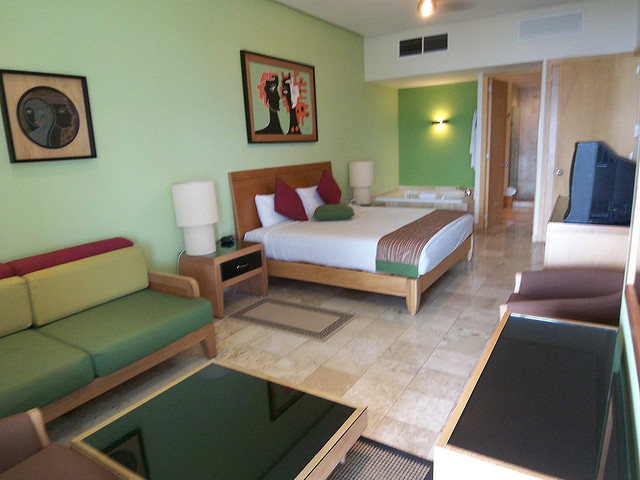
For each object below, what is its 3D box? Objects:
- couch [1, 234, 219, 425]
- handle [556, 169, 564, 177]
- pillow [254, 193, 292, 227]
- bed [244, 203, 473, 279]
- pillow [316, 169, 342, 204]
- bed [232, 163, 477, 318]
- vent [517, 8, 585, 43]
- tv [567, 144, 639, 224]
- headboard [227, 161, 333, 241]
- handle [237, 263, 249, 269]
[{"bbox_3d":[-1.648,0.592,3.377,0.952,0.978,1.483,9,20,41],"label":"couch"},{"bbox_3d":[3.223,-0.883,6.166,0.069,0.044,0.130,22,57,41],"label":"handle"},{"bbox_3d":[-0.572,-0.343,5.269,0.103,0.338,0.352,-4,1,32],"label":"pillow"},{"bbox_3d":[0.402,-0.015,4.534,1.208,0.262,1.262,5,12,26],"label":"bed"},{"bbox_3d":[0.115,-0.670,6.008,0.094,0.377,0.417,-18,-33,24],"label":"pillow"},{"bbox_3d":[0.284,-0.106,5.068,1.996,1.231,1.988,6,15,29],"label":"bed"},{"bbox_3d":[2.950,-2.748,5.883,0.748,0.303,0.055,2,16,25],"label":"vent"},{"bbox_3d":[1.953,-0.366,3.105,0.407,0.573,0.265,-2,15,11],"label":"tv"},{"bbox_3d":[-0.480,-0.506,5.493,1.414,0.643,0.085,-13,6,-32],"label":"headboard"},{"bbox_3d":[-0.768,0.252,4.521,0.017,0.020,0.131,-4,10,44],"label":"handle"}]
